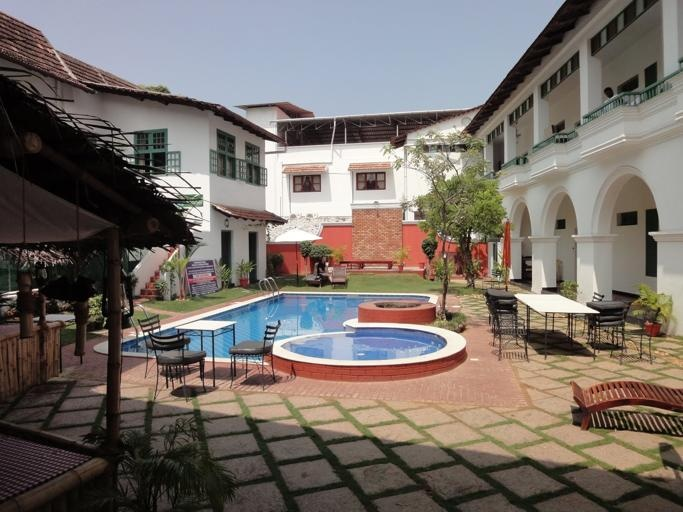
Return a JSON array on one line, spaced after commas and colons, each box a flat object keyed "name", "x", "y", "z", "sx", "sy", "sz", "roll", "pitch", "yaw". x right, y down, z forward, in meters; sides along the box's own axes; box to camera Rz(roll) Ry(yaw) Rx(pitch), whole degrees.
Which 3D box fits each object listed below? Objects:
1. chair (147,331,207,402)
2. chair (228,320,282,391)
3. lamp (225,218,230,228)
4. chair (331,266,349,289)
[{"name": "chair", "x": -3.230, "y": 2.028, "z": 9.319, "sx": 0.988, "sy": 1.078, "sz": 1.634, "roll": -2, "pitch": -2, "yaw": -23}, {"name": "chair", "x": -1.717, "y": 1.953, "z": 9.701, "sx": 0.910, "sy": 1.147, "sz": 0.769, "roll": -1, "pitch": 0, "yaw": 10}, {"name": "lamp", "x": -5.212, "y": -1.492, "z": 21.702, "sx": 0.080, "sy": 0.324, "sz": 0.257, "roll": 6, "pitch": 3, "yaw": 34}, {"name": "chair", "x": -0.087, "y": 1.008, "z": 22.431, "sx": 0.689, "sy": 0.877, "sz": 1.050, "roll": 0, "pitch": -4, "yaw": 3}]
